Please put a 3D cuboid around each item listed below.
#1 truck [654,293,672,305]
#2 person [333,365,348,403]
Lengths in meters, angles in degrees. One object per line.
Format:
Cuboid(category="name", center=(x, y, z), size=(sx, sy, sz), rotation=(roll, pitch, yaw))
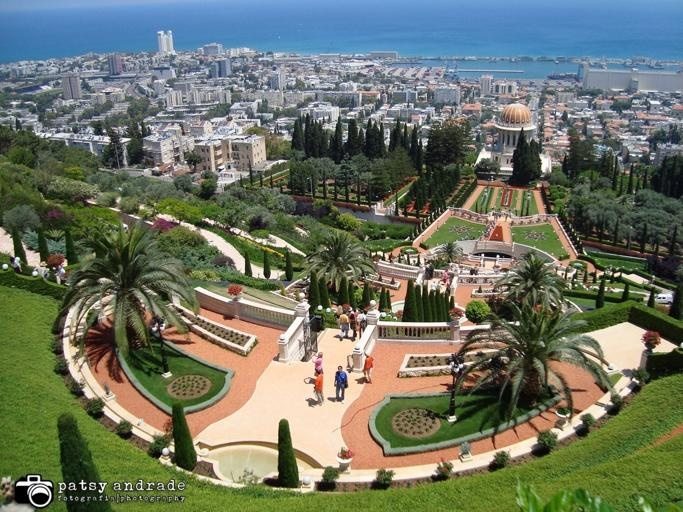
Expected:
Cuboid(category="truck", center=(25.954, 3.448, 41.244), size=(1.842, 0.836, 1.063), rotation=(-6, 8, 27))
Cuboid(category="person", center=(0.002, 5.477, 22.991), size=(0.558, 1.730, 1.117), rotation=(2, 19, 0))
